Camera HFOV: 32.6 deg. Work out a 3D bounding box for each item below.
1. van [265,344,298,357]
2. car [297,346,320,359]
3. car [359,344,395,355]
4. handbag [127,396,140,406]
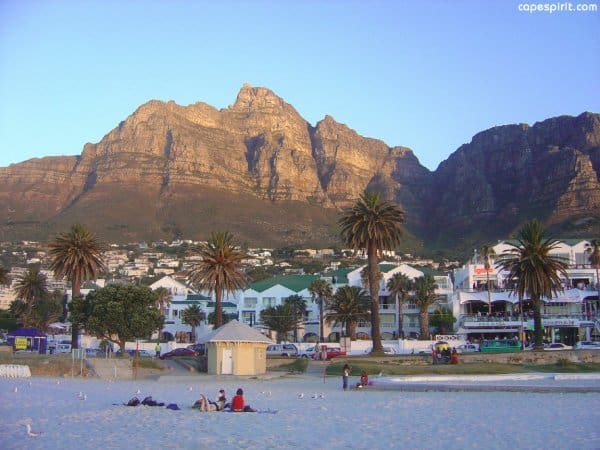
[{"bbox_3d":[-2.838,20.649,169.171,4.987,2.508,3.122,-1,-12,-1],"label":"van"},{"bbox_3d":[1.673,21.074,168.643,2.893,1.621,1.804,4,-5,19],"label":"car"},{"bbox_3d":[13.163,20.943,171.044,3.739,1.776,2.437,3,-6,1],"label":"car"},{"bbox_3d":[-19.858,21.348,123.051,1.170,1.119,0.963,17,-34,-1],"label":"handbag"}]
